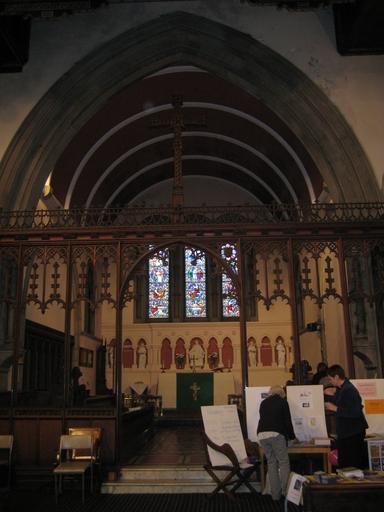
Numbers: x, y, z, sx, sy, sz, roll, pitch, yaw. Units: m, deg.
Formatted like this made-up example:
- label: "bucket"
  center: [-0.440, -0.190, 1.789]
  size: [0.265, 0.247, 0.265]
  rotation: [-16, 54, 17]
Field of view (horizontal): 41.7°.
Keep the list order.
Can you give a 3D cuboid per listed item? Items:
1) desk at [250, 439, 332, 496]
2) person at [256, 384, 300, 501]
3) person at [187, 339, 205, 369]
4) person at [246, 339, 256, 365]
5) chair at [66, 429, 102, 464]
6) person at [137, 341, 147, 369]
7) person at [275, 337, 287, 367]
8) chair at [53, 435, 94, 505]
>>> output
- label: "desk"
  center: [1.002, 2.272, 5.144]
  size: [0.844, 0.750, 0.600]
  rotation: [-1, -26, 0]
- label: "person"
  center: [0.836, 1.844, 4.917]
  size: [0.345, 1.084, 0.301]
  rotation: [-7, -15, 8]
- label: "person"
  center: [0.149, 3.153, 16.238]
  size: [0.531, 1.067, 0.624]
  rotation: [-5, -15, 0]
- label: "person"
  center: [1.960, 3.104, 16.259]
  size: [0.336, 0.957, 0.563]
  rotation: [-7, -15, 8]
- label: "chair"
  center: [-1.213, 2.140, 5.762]
  size: [0.296, 0.369, 0.281]
  rotation: [2, -5, 1]
- label: "person"
  center: [-1.623, 3.227, 16.383]
  size: [0.336, 0.960, 0.365]
  rotation: [5, -18, -31]
- label: "person"
  center: [2.857, 3.087, 16.164]
  size: [0.397, 0.983, 0.458]
  rotation: [-6, -15, 5]
- label: "chair"
  center: [-1.233, 2.227, 5.322]
  size: [0.418, 0.622, 0.991]
  rotation: [-1, -15, -14]
